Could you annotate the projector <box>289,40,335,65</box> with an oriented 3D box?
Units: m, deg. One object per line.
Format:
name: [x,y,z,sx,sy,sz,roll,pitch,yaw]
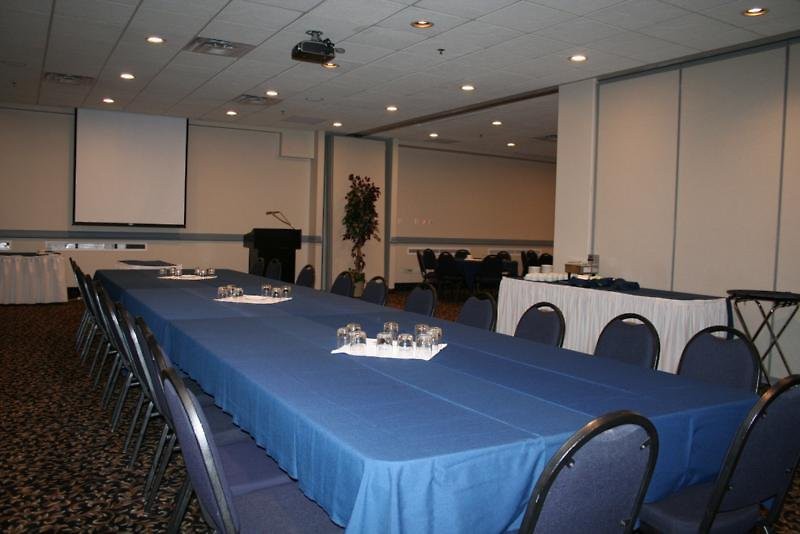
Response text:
projector: [-0.908,-2.133,5.665,0.429,0.218,0.274,3,1,-7]

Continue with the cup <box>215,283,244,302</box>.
cup: [-1.726,0.274,5.545,0.175,0.127,0.278,2,-6,-36]
